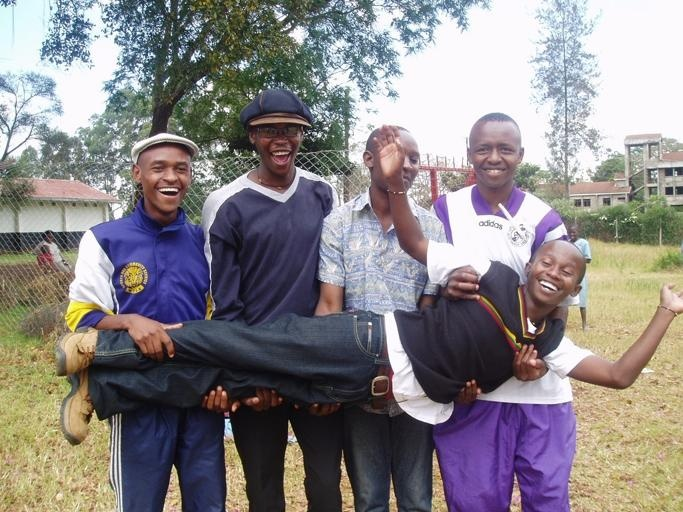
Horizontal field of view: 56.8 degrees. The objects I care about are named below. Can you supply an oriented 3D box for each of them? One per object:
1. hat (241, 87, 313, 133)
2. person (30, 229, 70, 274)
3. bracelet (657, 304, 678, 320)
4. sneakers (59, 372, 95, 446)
[{"bbox_3d":[-0.469,-1.111,4.815,0.560,0.306,0.672,-5,9,-30],"label":"hat"},{"bbox_3d":[-5.231,-0.053,11.322,0.665,1.003,0.568,-1,-9,-38],"label":"person"},{"bbox_3d":[2.210,0.369,4.283,0.110,0.044,0.102,33,-24,5],"label":"bracelet"},{"bbox_3d":[-1.770,1.047,4.309,0.220,0.556,0.183,-1,-5,4],"label":"sneakers"}]
